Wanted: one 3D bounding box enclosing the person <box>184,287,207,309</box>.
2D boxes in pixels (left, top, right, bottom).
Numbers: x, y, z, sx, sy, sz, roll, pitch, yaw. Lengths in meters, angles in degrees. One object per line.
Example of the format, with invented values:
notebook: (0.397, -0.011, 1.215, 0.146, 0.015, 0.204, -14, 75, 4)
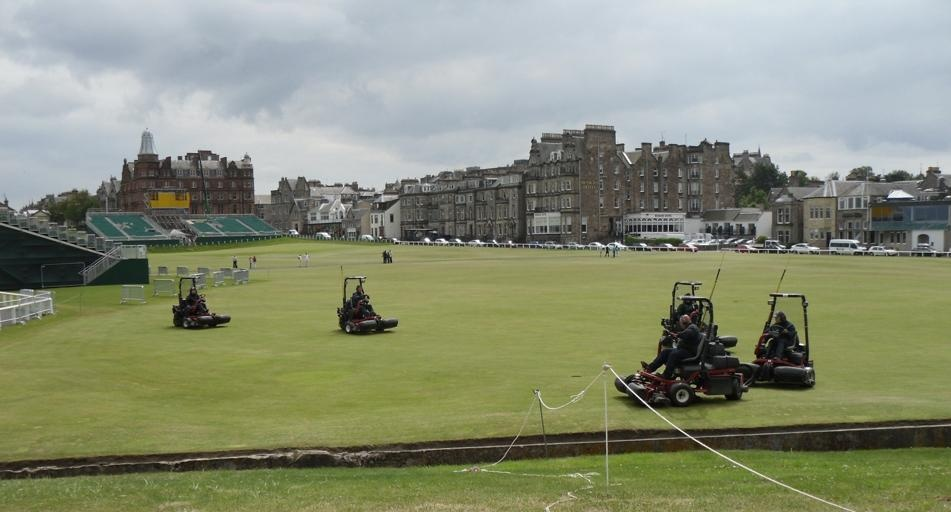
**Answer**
person: (-21.119, 3.190, 103.521, 1.311, 1.375, 1.205, 0, 0, -11)
